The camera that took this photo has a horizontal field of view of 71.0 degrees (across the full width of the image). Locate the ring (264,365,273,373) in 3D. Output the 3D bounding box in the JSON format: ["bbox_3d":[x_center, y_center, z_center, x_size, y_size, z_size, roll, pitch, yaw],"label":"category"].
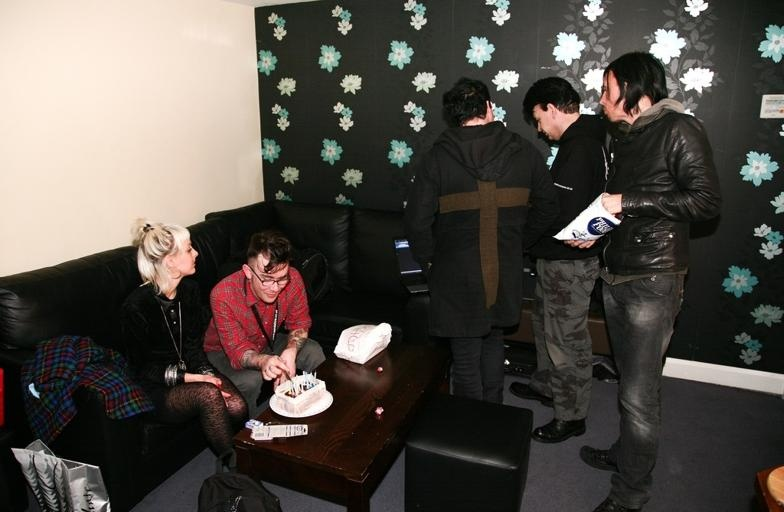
[{"bbox_3d":[-0.733,0.671,3.265,0.033,0.032,0.010,-5,-12,25],"label":"ring"}]

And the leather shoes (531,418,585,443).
[{"bbox_3d":[1.077,1.135,3.648,0.381,0.163,0.141,-4,30,-3],"label":"leather shoes"}]

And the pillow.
[{"bbox_3d":[-0.585,-0.041,4.308,0.671,0.651,0.230,3,4,20],"label":"pillow"}]

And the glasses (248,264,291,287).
[{"bbox_3d":[-0.760,0.127,3.309,0.255,0.141,0.123,-2,15,-2],"label":"glasses"}]

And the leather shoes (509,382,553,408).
[{"bbox_3d":[0.999,1.005,4.013,0.311,0.133,0.112,19,38,23],"label":"leather shoes"}]

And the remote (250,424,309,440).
[{"bbox_3d":[-0.594,0.952,2.928,0.317,0.044,0.106,2,36,-2],"label":"remote"}]

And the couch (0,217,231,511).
[{"bbox_3d":[-1.410,0.463,3.778,1.536,1.815,1.337,8,16,7],"label":"couch"}]

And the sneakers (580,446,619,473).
[{"bbox_3d":[1.282,1.249,3.440,0.237,0.095,0.094,19,41,28],"label":"sneakers"}]

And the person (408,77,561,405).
[{"bbox_3d":[0.538,-0.044,3.370,0.866,2.006,0.375,-6,15,-16],"label":"person"}]

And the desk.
[{"bbox_3d":[-0.277,0.918,3.051,0.756,0.579,1.290,11,32,21],"label":"desk"}]

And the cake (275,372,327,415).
[{"bbox_3d":[-0.515,0.758,3.082,0.174,0.098,0.229,15,23,36],"label":"cake"}]
